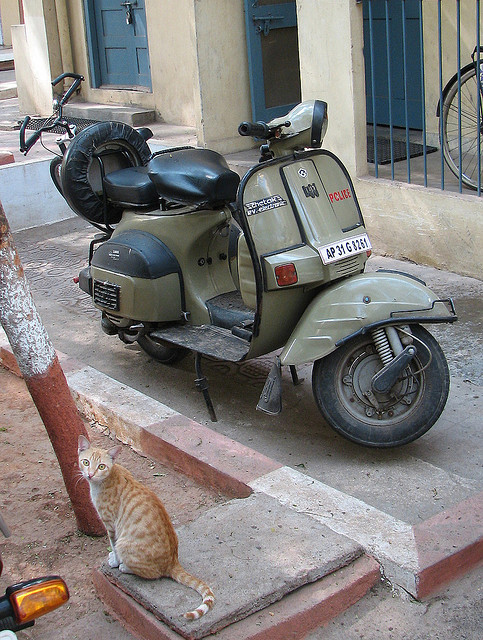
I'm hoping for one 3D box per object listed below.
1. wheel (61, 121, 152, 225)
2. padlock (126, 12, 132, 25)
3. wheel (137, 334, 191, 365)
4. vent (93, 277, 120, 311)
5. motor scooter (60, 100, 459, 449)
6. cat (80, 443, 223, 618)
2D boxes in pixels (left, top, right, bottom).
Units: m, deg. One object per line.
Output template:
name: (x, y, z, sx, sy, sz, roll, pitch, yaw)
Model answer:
wheel: (-1.122, -1.059, 4.124, 0.603, 0.793, 0.589, 0, 25, 0)
padlock: (-2.156, -5.771, 10.465, 0.086, 0.174, 0.176, 0, 12, -21)
wheel: (-0.533, 0.203, 3.824, 0.213, 0.175, 0.386, 5, 18, 23)
vent: (-0.893, -0.180, 3.645, 0.035, 0.148, 0.221, -13, 18, -39)
motor scooter: (-0.095, -0.437, 3.431, 3.006, 1.650, 0.974, 21, 33, 39)
cat: (-0.296, 0.674, 1.770, 0.654, 0.365, 0.200, 16, 16, 36)
